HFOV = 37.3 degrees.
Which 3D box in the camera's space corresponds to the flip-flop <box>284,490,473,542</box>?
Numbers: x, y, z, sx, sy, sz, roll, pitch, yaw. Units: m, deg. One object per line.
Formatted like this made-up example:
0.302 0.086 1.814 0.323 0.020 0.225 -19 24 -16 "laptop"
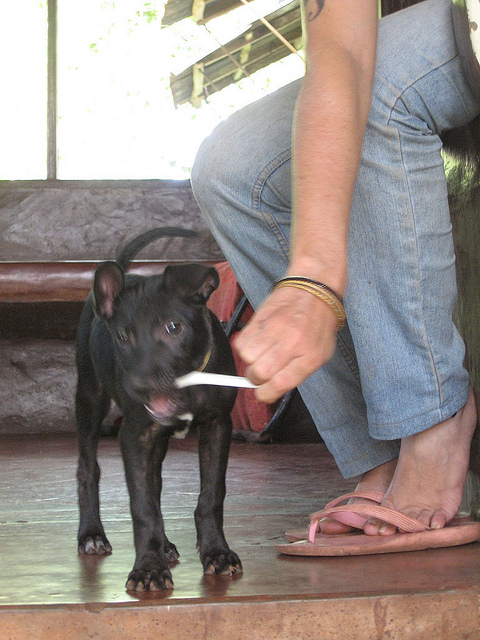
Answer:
0.215 0.289 1.087 0.284 0.050 0.098 2 -11 -9 "flip-flop"
